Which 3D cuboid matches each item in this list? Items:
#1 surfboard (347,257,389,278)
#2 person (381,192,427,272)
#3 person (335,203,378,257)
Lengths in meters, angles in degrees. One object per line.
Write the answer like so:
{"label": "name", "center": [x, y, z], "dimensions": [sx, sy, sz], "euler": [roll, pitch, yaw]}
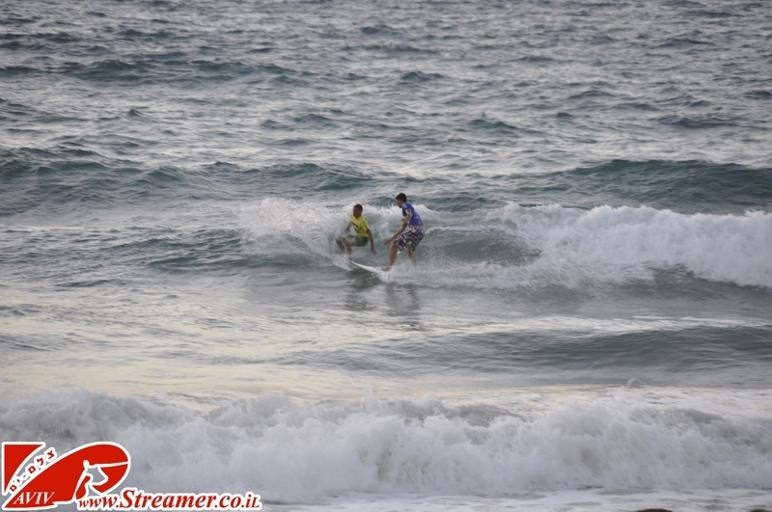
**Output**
{"label": "surfboard", "center": [-0.540, 0.439, 44.464], "dimensions": [1.660, 0.241, 0.467], "euler": [10, -2, 30]}
{"label": "person", "center": [0.613, -0.787, 44.757], "dimensions": [1.260, 2.406, 1.453], "euler": [0, 11, 0]}
{"label": "person", "center": [-0.979, -0.831, 45.232], "dimensions": [1.283, 1.690, 0.986], "euler": [0, 11, 1]}
